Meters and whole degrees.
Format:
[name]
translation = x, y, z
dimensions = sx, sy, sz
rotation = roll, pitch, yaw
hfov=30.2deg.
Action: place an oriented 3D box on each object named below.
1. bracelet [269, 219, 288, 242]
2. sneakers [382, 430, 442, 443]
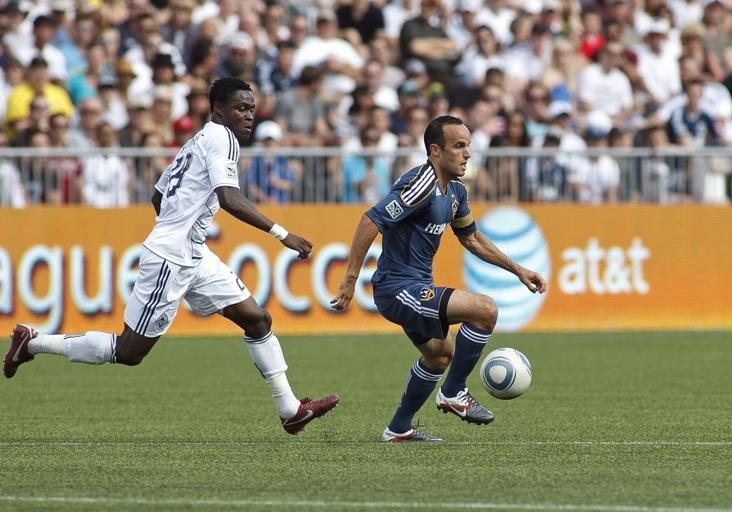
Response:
[bracelet]
translation = -0.831, -0.244, 12.763
dimensions = 0.199, 0.126, 0.090
rotation = 38, -2, 5
[sneakers]
translation = 0.437, 1.728, 13.152
dimensions = 0.582, 0.171, 0.195
rotation = 0, -6, -4
